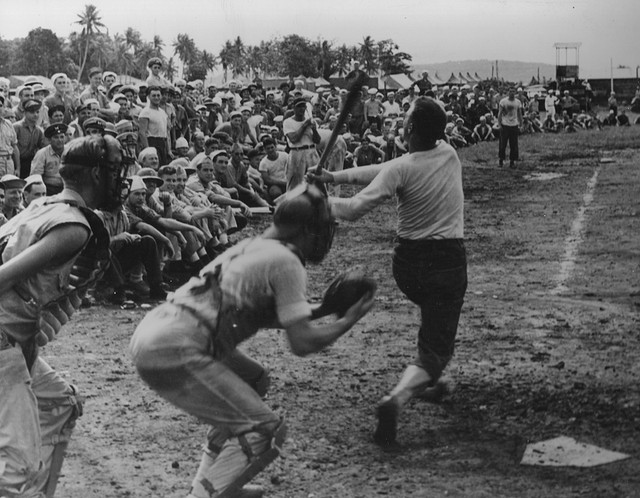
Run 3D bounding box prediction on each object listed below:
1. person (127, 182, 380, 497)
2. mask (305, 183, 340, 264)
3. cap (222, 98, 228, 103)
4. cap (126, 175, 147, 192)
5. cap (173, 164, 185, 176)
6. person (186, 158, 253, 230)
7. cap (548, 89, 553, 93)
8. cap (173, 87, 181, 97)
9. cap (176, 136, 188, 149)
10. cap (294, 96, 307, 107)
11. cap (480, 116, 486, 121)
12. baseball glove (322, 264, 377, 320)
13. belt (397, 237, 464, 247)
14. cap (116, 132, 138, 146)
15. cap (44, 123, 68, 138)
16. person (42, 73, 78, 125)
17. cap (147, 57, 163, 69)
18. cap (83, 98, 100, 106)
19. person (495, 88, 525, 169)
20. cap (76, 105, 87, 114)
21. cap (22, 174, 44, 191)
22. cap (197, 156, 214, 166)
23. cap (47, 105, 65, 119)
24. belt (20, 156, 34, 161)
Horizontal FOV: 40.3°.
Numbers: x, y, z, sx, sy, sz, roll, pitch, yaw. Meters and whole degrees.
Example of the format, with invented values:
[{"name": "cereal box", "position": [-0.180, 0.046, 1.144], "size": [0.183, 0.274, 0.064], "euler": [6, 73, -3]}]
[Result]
[{"name": "person", "position": [-0.408, 0.556, 5.081], "size": [1.365, 1.806, 0.528], "euler": [-3, 14, -14]}, {"name": "mask", "position": [0.000, -0.143, 5.197], "size": [0.169, 0.493, 0.322], "euler": [1, 14, 1]}, {"name": "cap", "position": [-1.913, -3.028, 17.564], "size": [0.100, 0.084, 0.140], "euler": [-1, 14, -6]}, {"name": "cap", "position": [-2.088, -0.765, 9.960], "size": [0.270, 0.176, 0.198], "euler": [5, 4, -12]}, {"name": "cap", "position": [-1.779, -1.015, 10.979], "size": [0.142, 0.054, 0.112], "euler": [34, 17, 31]}, {"name": "person", "position": [-1.451, -0.782, 12.272], "size": [0.740, 1.019, 0.431], "euler": [10, 57, -6]}, {"name": "cap", "position": [7.146, -4.933, 26.868], "size": [0.176, 0.093, 0.248], "euler": [-4, 8, 0]}, {"name": "cap", "position": [-2.462, -2.735, 14.976], "size": [0.037, 0.146, 0.146], "euler": [-1, 4, 18]}, {"name": "cap", "position": [-2.108, -1.630, 13.252], "size": [0.157, 0.146, 0.250], "euler": [-3, 15, -14]}, {"name": "cap", "position": [-0.343, -2.557, 14.968], "size": [0.174, 0.096, 0.239], "euler": [-7, 11, -20]}, {"name": "cap", "position": [4.581, -3.706, 24.394], "size": [0.137, 0.083, 0.141], "euler": [-1, 14, -2]}, {"name": "baseball glove", "position": [0.177, 0.264, 5.343], "size": [0.310, 0.267, 0.265], "euler": [-6, 15, -25]}, {"name": "belt", "position": [0.814, -0.060, 6.432], "size": [0.464, 0.069, 0.150], "euler": [3, 14, 7]}, {"name": "cap", "position": [-2.341, -1.364, 10.534], "size": [0.264, 0.139, 0.312], "euler": [-8, 11, -42]}, {"name": "cap", "position": [-3.237, -1.471, 10.673], "size": [0.246, 0.182, 0.248], "euler": [-5, 15, -23]}, {"name": "person", "position": [-3.965, -2.309, 13.186], "size": [0.440, 0.756, 0.970], "euler": [-2, 14, -11]}, {"name": "cap", "position": [-2.863, -3.256, 15.082], "size": [0.248, 0.169, 0.391], "euler": [-2, 14, -12]}, {"name": "cap", "position": [-3.210, -2.097, 12.228], "size": [0.219, 0.091, 0.224], "euler": [11, 21, 42]}, {"name": "person", "position": [4.154, -2.718, 18.991], "size": [0.544, 1.672, 0.422], "euler": [1, 11, -2]}, {"name": "cap", "position": [-3.344, -1.983, 12.197], "size": [0.104, 0.138, 0.383], "euler": [-5, 15, -23]}, {"name": "cap", "position": [-3.031, -0.742, 9.225], "size": [0.251, 0.110, 0.178], "euler": [-13, 10, -30]}, {"name": "cap", "position": [-1.597, -1.244, 12.094], "size": [0.197, 0.120, 0.296], "euler": [-2, 14, -12]}, {"name": "cap", "position": [-3.824, -1.976, 12.539], "size": [0.234, 0.080, 0.239], "euler": [-14, 0, 35]}, {"name": "belt", "position": [-4.025, -1.256, 11.938], "size": [0.175, 0.065, 0.056], "euler": [-4, 15, -20]}]
